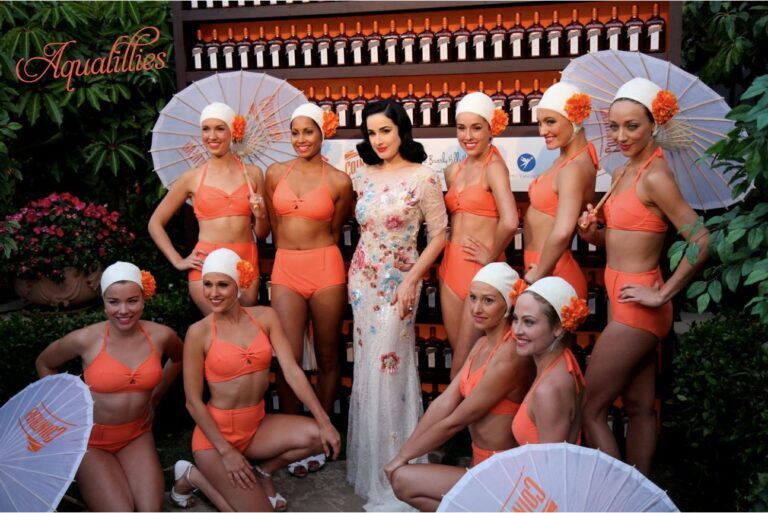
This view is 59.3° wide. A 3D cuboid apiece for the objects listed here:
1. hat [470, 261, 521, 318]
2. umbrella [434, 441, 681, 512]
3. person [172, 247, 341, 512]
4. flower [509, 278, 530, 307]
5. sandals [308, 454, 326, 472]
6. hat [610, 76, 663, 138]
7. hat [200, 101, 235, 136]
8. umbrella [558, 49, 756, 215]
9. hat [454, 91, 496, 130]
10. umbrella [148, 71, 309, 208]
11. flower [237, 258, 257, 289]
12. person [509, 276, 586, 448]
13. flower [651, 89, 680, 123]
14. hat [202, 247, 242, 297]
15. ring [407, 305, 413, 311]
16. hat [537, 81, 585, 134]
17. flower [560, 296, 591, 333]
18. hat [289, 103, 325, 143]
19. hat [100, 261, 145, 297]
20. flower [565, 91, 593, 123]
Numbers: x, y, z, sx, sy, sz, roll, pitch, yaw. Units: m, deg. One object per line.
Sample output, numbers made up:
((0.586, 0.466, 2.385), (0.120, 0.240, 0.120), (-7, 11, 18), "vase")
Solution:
((0.679, 0.186, 4.027), (0.293, 0.272, 0.222), (32, -16, -33), "hat")
((0.830, 1.105, 3.256), (1.105, 0.364, 0.156), (4, 9, 11), "umbrella")
((-0.856, 0.827, 4.307), (0.956, 1.707, 0.503), (-1, 9, -19), "person")
((0.782, 0.197, 3.936), (0.055, 0.140, 0.132), (39, 15, 11), "flower")
((-0.476, 1.505, 4.914), (0.165, 0.101, 0.049), (-27, 5, -33), "sandals")
((1.544, -0.898, 4.136), (0.306, 0.335, 0.293), (-3, 0, -22), "hat")
((-1.179, -0.973, 4.804), (0.201, 0.172, 0.213), (4, 8, 15), "hat")
((1.787, -0.925, 4.500), (1.120, 1.151, 0.541), (29, 41, 23), "umbrella")
((0.616, -0.982, 4.580), (0.217, 0.187, 0.214), (5, 6, -6), "hat")
((-1.171, -0.838, 5.121), (0.930, 1.017, 0.483), (-1, 6, 5), "umbrella")
((-0.881, 0.134, 4.352), (0.172, 0.181, 0.077), (6, -22, 3), "flower")
((0.887, 0.627, 3.689), (0.411, 0.979, 0.498), (5, 9, 17), "person")
((1.690, -0.915, 4.103), (0.163, 0.166, 0.184), (-25, 27, -14), "flower")
((-1.005, 0.092, 4.295), (0.216, 0.253, 0.254), (2, 25, -1), "hat")
((0.180, 0.359, 4.619), (0.034, 0.037, 0.014), (0, 17, -20), "ring")
((1.134, -0.947, 4.411), (0.215, 0.256, 0.315), (0, 47, 16), "hat")
((1.047, 0.343, 3.712), (0.167, 0.174, 0.072), (-34, 28, -6), "flower")
((-0.543, -0.948, 4.773), (0.191, 0.224, 0.227), (-1, -1, 0), "hat")
((-1.689, 0.147, 4.369), (0.244, 0.209, 0.175), (-1, 9, -20), "hat")
((1.240, -0.944, 4.300), (0.163, 0.181, 0.119), (-7, 14, 9), "flower")
